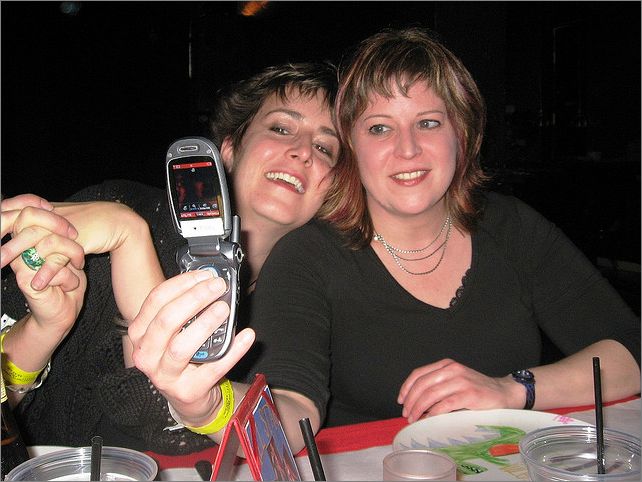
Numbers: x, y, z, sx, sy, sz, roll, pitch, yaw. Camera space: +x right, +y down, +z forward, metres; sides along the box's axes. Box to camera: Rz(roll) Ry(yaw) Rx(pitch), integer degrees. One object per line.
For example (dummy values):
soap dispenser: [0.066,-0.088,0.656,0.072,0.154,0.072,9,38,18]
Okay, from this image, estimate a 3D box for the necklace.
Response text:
necklace: [0.362,0.020,1.992,0.233,0.207,0.059,-12,-11,-10]

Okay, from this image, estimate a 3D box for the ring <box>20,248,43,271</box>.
ring: [-0.697,0.045,1.272,0.055,0.053,0.017,8,40,10]
